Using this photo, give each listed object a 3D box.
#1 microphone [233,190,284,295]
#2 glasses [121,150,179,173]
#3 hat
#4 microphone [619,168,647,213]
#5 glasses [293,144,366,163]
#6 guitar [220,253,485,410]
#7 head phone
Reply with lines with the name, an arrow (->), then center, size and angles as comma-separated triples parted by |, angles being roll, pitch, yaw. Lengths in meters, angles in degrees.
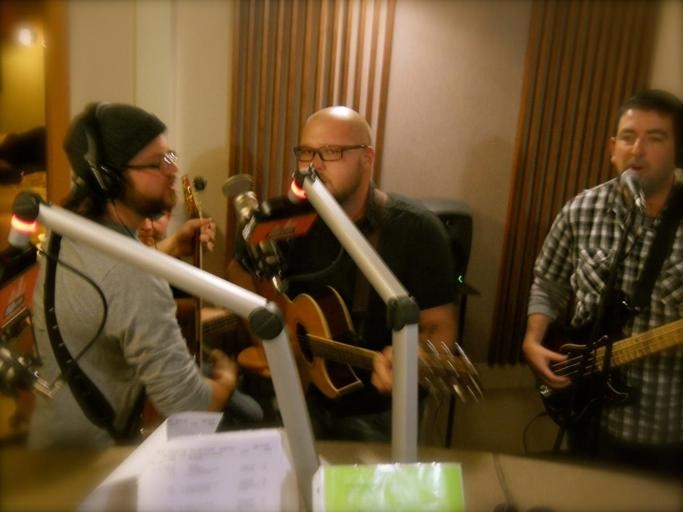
microphone -> -0.139, -0.024, 1.065 | 0.091, 0.185, 0.048 | -24, 9, 13
glasses -> -0.347, -0.175, 0.998 | 0.067, 0.019, 0.039 | -10, 19, -4
hat -> -0.401, -0.194, 0.997 | 0.162, 0.146, 0.068 | 5, 18, 15
microphone -> 0.476, -0.110, 0.916 | 0.016, 0.061, 0.049 | -8, 19, -25
glasses -> -0.015, -0.181, 0.987 | 0.128, 0.036, 0.020 | 3, 17, 9
guitar -> 0.031, 0.129, 1.086 | 0.437, 0.232, 0.064 | 15, 29, 22
head phone -> -0.422, -0.179, 0.985 | 0.098, 0.142, 0.033 | 4, 13, 35
